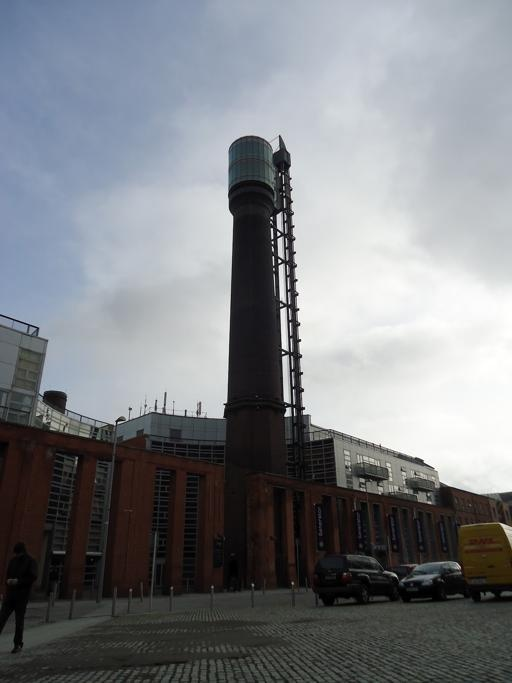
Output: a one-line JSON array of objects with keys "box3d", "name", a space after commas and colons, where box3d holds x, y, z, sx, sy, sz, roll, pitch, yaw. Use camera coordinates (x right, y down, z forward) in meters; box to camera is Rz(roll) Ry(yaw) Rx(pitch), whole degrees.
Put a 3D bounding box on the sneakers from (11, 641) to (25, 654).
[{"box3d": [-3.479, 4.473, 6.188, 0.124, 0.119, 0.513, 7, -25, -21], "name": "sneakers"}]
